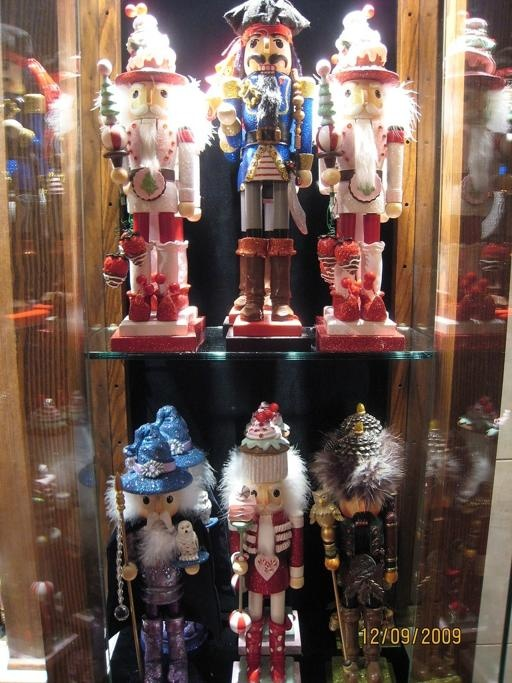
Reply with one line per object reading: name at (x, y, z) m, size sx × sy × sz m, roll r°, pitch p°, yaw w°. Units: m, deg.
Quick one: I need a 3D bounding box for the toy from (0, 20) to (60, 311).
toy at (-0.448, -0.348, 1.309) m, size 0.115 × 0.563 × 0.036 m, roll -1°, pitch 10°, yaw 10°
